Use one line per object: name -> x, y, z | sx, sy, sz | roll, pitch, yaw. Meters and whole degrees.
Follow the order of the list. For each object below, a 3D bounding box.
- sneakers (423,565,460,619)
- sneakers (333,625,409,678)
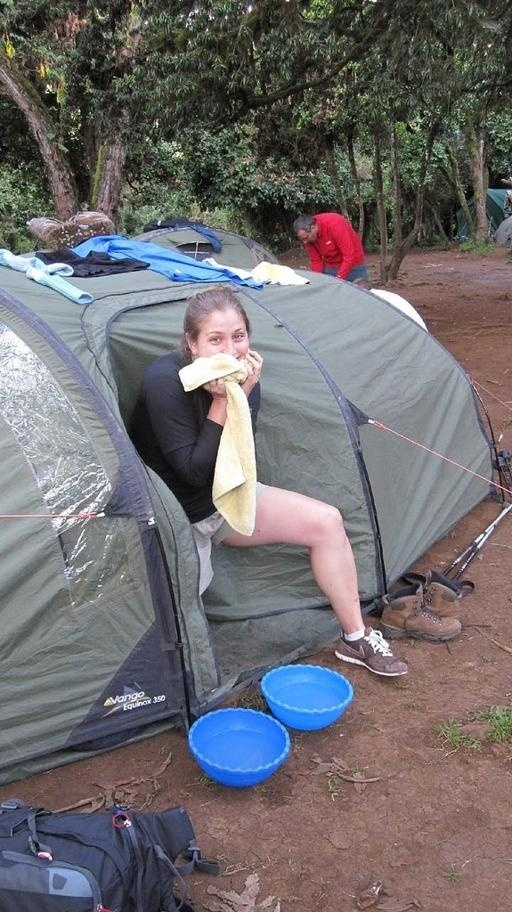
sneakers -> 0.811, 0.610, 3.026 | 0.069, 0.139, 0.195 | -24, 46, -21
sneakers -> 0.444, 0.754, 2.745 | 0.329, 0.161, 0.121 | 13, 15, 38
